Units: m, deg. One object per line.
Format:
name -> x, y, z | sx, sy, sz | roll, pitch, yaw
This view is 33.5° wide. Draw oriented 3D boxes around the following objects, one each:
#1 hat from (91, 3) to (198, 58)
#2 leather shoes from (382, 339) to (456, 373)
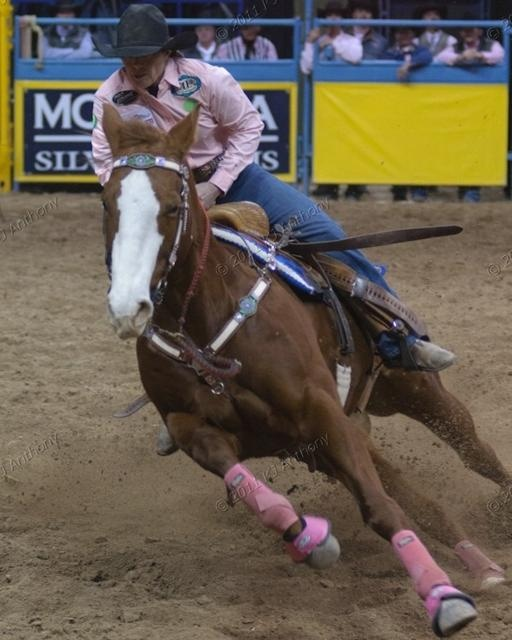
hat -> -0.413, -1.116, 3.391 | 0.447, 0.155, 0.449 | -4, 8, 8
leather shoes -> 0.719, 0.164, 3.876 | 0.379, 0.132, 0.134 | 1, 22, 16
